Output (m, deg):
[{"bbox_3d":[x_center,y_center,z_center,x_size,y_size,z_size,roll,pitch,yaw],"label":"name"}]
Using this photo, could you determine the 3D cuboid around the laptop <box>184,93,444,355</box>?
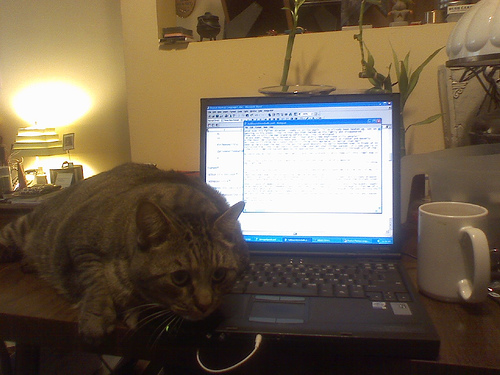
[{"bbox_3d":[0.125,0.094,1.011,0.566,0.450,0.494,1,10,8],"label":"laptop"}]

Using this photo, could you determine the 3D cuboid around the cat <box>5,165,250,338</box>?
[{"bbox_3d":[-0.267,0.057,0.865,0.412,0.180,0.311,23,25,27],"label":"cat"}]

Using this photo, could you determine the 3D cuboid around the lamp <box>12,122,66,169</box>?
[{"bbox_3d":[-1.125,-0.245,2.242,0.237,0.155,0.203,-7,11,-24],"label":"lamp"}]

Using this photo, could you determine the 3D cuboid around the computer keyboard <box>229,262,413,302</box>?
[{"bbox_3d":[0.143,0.205,0.927,0.388,0.052,0.165,-1,19,7],"label":"computer keyboard"}]

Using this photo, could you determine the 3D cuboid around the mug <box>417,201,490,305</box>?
[{"bbox_3d":[0.385,0.123,0.916,0.158,0.196,0.170,3,13,8],"label":"mug"}]

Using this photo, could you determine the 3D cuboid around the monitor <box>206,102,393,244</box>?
[{"bbox_3d":[0.115,-0.037,1.036,0.447,0.341,0.126,0,10,17],"label":"monitor"}]
